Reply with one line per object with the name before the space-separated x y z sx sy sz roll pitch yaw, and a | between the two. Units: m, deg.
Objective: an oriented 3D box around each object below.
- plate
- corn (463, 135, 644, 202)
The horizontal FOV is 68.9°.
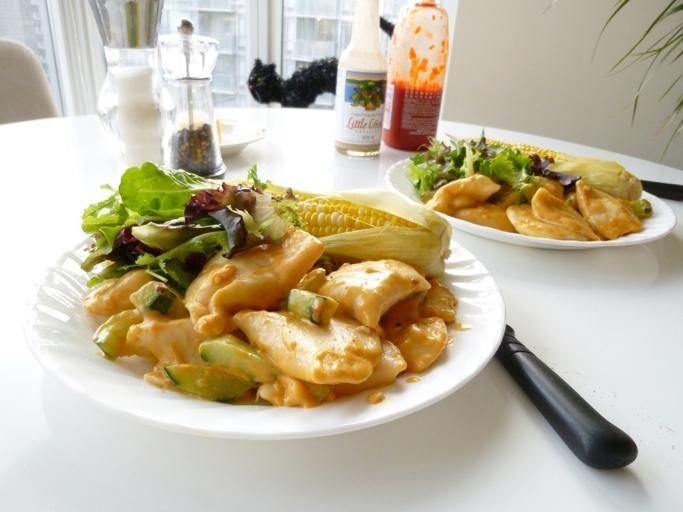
plate | -0.147 -0.050 1.069 1.058 0.391 0.723 -3 16 -20
corn | 0.667 -0.265 1.514 0.449 0.103 0.122 21 36 35
